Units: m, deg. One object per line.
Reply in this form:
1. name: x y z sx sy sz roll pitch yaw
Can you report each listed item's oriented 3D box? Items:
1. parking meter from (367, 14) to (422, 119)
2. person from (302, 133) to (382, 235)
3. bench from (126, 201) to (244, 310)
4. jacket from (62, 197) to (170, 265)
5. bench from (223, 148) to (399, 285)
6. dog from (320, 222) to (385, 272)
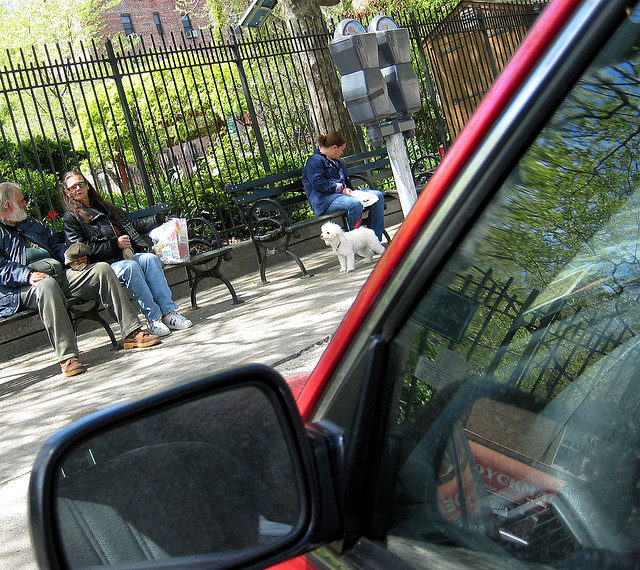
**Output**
1. parking meter: 0.874 -2.516 6.802 0.382 1.205 0.334 -18 5 -29
2. person: 0.345 -1.336 8.503 0.963 1.873 0.770 2 14 43
3. bench: -1.831 -0.302 7.836 0.739 1.379 2.022 -19 -1 3
4. jacket: -2.421 -0.632 6.688 1.023 0.884 0.765 -8 17 -43
5. bench: -0.200 -0.983 8.457 0.713 0.963 2.019 -18 9 46
6. dog: 0.464 -0.530 7.709 0.871 0.644 0.295 -10 10 -21
